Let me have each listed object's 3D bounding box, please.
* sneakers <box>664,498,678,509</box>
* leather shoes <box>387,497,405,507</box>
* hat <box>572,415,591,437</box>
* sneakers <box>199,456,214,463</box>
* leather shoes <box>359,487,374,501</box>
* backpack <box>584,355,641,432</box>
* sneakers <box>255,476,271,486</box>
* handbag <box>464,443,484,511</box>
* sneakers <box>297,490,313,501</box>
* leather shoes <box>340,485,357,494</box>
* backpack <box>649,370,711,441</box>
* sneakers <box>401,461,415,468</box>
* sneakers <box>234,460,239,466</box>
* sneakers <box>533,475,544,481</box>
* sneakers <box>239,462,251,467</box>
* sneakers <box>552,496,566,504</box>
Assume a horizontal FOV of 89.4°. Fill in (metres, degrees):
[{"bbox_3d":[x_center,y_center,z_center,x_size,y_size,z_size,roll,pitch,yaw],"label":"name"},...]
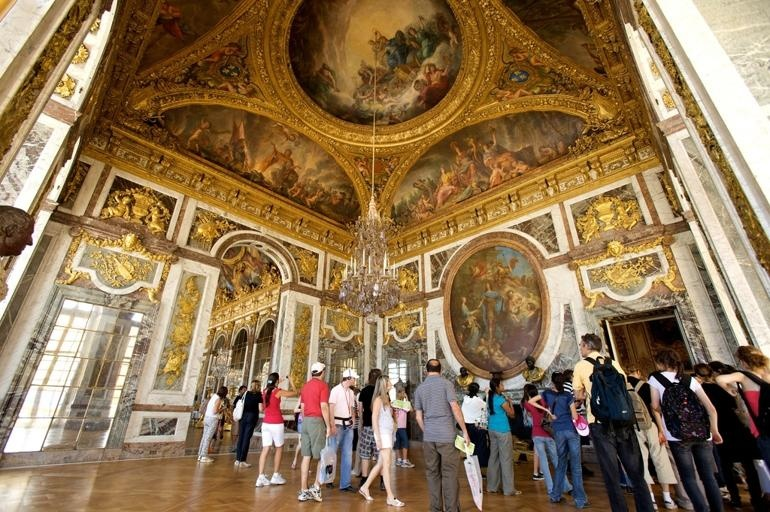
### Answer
[{"bbox_3d":[4.412,3.821,5.983,0.158,0.138,0.260,-16,-30,29],"label":"sneakers"},{"bbox_3d":[0.149,3.845,6.038,0.236,0.081,0.137,-7,-15,21],"label":"leather shoes"},{"bbox_3d":[2.857,2.488,5.618,0.192,0.330,0.104,-15,-5,24],"label":"hat"},{"bbox_3d":[-4.096,4.670,8.853,0.314,0.135,0.132,7,-15,-22],"label":"sneakers"},{"bbox_3d":[-0.340,3.929,6.417,0.133,0.153,0.351,21,-22,-35],"label":"leather shoes"},{"bbox_3d":[3.101,1.859,5.384,0.587,0.818,0.496,-6,-4,-22],"label":"backpack"},{"bbox_3d":[-2.154,3.934,6.757,0.132,0.145,0.328,-4,-13,23],"label":"sneakers"},{"bbox_3d":[1.232,3.113,5.367,0.187,0.671,0.394,-5,-27,8],"label":"handbag"},{"bbox_3d":[-1.286,3.798,6.143,0.109,0.119,0.269,-4,-12,27],"label":"sneakers"},{"bbox_3d":[-0.654,4.140,6.854,0.299,0.110,0.096,-2,-34,7],"label":"leather shoes"},{"bbox_3d":[4.224,2.075,5.448,0.575,0.824,0.444,-16,-19,31],"label":"backpack"},{"bbox_3d":[0.507,4.728,8.776,0.308,0.133,0.117,7,-22,-5],"label":"sneakers"},{"bbox_3d":[-3.172,4.425,8.255,0.070,0.076,0.114,9,-48,-15],"label":"sneakers"},{"bbox_3d":[2.998,4.372,7.637,0.286,0.112,0.093,2,-15,-3],"label":"sneakers"},{"bbox_3d":[-3.013,4.460,8.275,0.216,0.138,0.082,3,-13,-21],"label":"sneakers"},{"bbox_3d":[2.812,3.947,6.277,0.381,0.082,0.165,22,-34,-39],"label":"sneakers"}]
